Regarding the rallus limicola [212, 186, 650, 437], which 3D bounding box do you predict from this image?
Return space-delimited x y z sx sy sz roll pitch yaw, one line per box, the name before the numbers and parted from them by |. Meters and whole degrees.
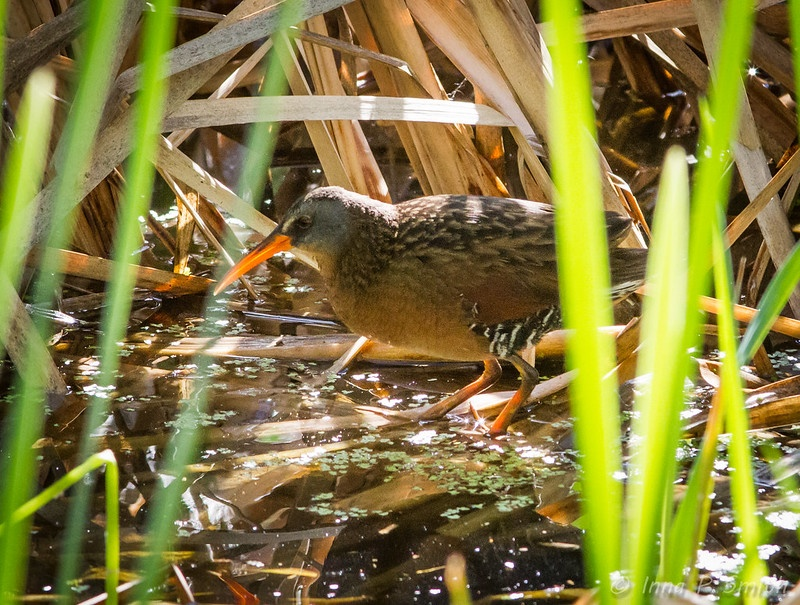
rallus limicola | 0.088 0.049 2.497 1.063 0.508 0.314 -4 11 5
